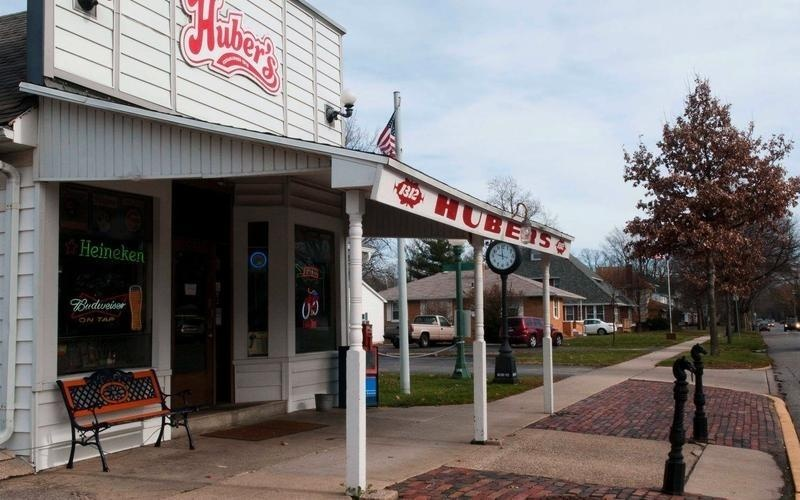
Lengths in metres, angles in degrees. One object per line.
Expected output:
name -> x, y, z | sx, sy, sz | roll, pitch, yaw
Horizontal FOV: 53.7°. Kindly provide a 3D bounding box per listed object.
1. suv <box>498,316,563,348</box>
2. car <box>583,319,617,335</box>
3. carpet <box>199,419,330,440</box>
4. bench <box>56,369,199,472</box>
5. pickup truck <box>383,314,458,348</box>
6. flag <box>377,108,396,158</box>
suv -> 6.940, 4.301, 41.176 | 1.614, 1.531, 3.979 | -5, -7, 40
car -> 14.373, 5.584, 56.868 | 1.157, 1.016, 2.289 | 2, -7, -29
carpet -> -2.532, 3.428, 14.990 | 2.089, 0.226, 1.184 | 4, -9, -39
bench -> -4.836, 2.575, 13.565 | 1.317, 2.059, 2.614 | -4, -7, 32
pickup truck -> 1.267, 4.185, 40.722 | 1.446, 1.678, 4.787 | -6, -8, 39
flag -> -0.323, -3.019, 20.488 | 0.497, 1.298, 1.212 | -1, -6, -1
